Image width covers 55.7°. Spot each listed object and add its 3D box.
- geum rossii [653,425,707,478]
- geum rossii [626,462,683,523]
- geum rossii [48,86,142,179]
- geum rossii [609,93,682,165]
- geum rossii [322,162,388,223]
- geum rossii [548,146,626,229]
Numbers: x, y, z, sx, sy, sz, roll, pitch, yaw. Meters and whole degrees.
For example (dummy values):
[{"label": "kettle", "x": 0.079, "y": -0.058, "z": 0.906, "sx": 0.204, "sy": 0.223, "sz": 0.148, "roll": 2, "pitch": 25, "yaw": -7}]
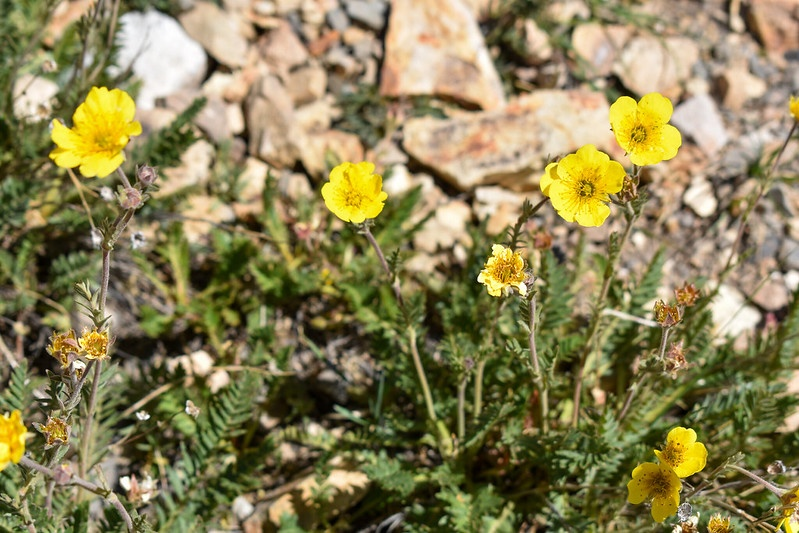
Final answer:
[{"label": "geum rossii", "x": 1.299, "y": 0.859, "z": 3.470, "sx": 0.163, "sy": 0.177, "sz": 0.200, "roll": -27, "pitch": 61, "yaw": -40}, {"label": "geum rossii", "x": 1.203, "y": 1.027, "z": 3.476, "sx": 0.263, "sy": 0.144, "sz": 0.339, "roll": -15, "pitch": 27, "yaw": 17}, {"label": "geum rossii", "x": -1.344, "y": -0.572, "z": 3.330, "sx": 0.355, "sy": 0.315, "sz": 0.367, "roll": -15, "pitch": 54, "yaw": -33}, {"label": "geum rossii", "x": 1.184, "y": -0.715, "z": 3.637, "sx": 0.353, "sy": 0.173, "sz": 0.397, "roll": 28, "pitch": 11, "yaw": -12}, {"label": "geum rossii", "x": -0.220, "y": -0.343, "z": 3.470, "sx": 0.257, "sy": 0.126, "sz": 0.308, "roll": 22, "pitch": 86, "yaw": 3}, {"label": "geum rossii", "x": 0.875, "y": -0.426, "z": 3.543, "sx": 0.243, "sy": 0.306, "sz": 0.124, "roll": -6, "pitch": 62, "yaw": 21}]
